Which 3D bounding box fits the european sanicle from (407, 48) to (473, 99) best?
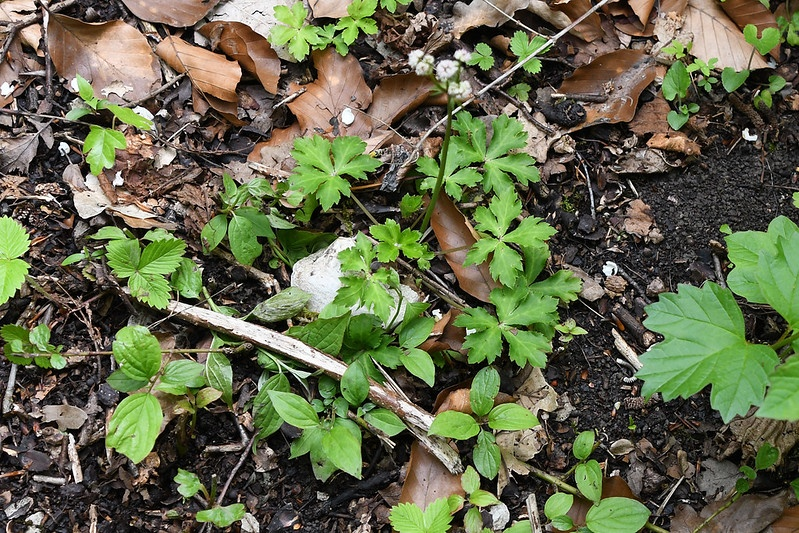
[{"bbox_3d":[0.244,-1.033,3.587,0.303,0.195,0.379,47,34,3],"label":"european sanicle"}]
